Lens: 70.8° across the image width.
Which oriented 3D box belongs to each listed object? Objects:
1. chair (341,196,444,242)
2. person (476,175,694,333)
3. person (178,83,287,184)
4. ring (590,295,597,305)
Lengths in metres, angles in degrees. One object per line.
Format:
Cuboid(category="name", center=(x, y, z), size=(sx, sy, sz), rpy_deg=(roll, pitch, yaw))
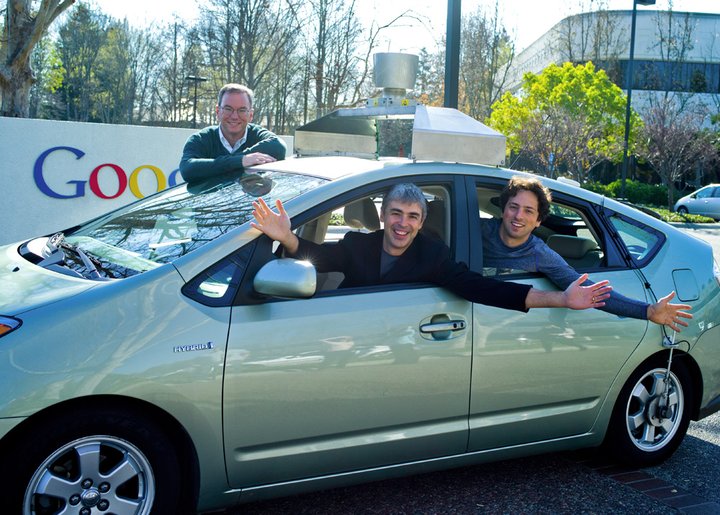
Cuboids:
Cuboid(category="chair", center=(0.180, -0.301, 3.841), size=(0.493, 0.212, 0.382), rpy_deg=(-1, 1, -17))
Cuboid(category="person", center=(1.448, -0.097, 3.373), size=(0.958, 0.674, 1.530), rpy_deg=(-7, 20, -41))
Cuboid(category="person", center=(-1.147, -1.091, 4.507), size=(0.897, 0.857, 0.540), rpy_deg=(-6, 11, -24))
Cuboid(category="ring", center=(1.329, 0.241, 2.881), size=(0.035, 0.012, 0.039), rpy_deg=(5, 53, -7))
